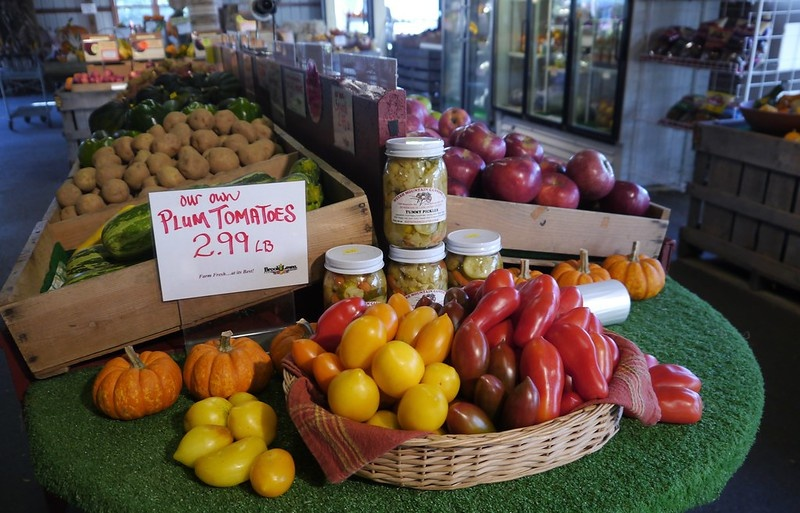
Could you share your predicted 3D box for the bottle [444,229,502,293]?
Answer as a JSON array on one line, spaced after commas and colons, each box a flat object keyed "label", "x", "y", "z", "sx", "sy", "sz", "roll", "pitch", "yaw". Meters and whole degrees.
[{"label": "bottle", "x": 0.303, "y": 0.010, "z": 2.162, "sx": 0.212, "sy": 0.206, "sz": 0.217, "roll": 7, "pitch": 14, "yaw": 36}]

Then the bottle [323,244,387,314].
[{"label": "bottle", "x": -0.166, "y": 0.095, "z": 2.063, "sx": 0.237, "sy": 0.272, "sz": 0.246, "roll": 19, "pitch": 28, "yaw": 36}]

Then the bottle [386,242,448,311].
[{"label": "bottle", "x": 0.070, "y": 0.068, "z": 2.144, "sx": 0.255, "sy": 0.279, "sz": 0.277, "roll": 9, "pitch": 20, "yaw": 25}]

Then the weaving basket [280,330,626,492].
[{"label": "weaving basket", "x": 0.266, "y": 0.411, "z": 1.514, "sx": 0.584, "sy": 0.125, "sz": 0.457, "roll": -4, "pitch": 13, "yaw": -8}]
